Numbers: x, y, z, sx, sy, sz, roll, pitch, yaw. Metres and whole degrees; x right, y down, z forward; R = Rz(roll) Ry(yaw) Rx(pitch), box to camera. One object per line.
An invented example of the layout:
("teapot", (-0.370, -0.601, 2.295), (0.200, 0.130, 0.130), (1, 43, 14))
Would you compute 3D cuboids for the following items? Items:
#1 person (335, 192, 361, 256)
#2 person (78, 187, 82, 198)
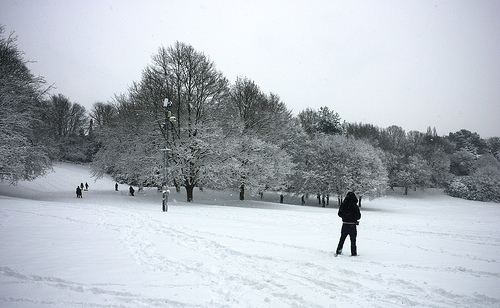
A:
("person", (5.559, 3.883, 21.778), (1.173, 3.503, 1.461), (1, -6, 15))
("person", (-17.745, 4.052, 40.319), (0.458, 0.721, 1.452), (-3, -27, -21))
